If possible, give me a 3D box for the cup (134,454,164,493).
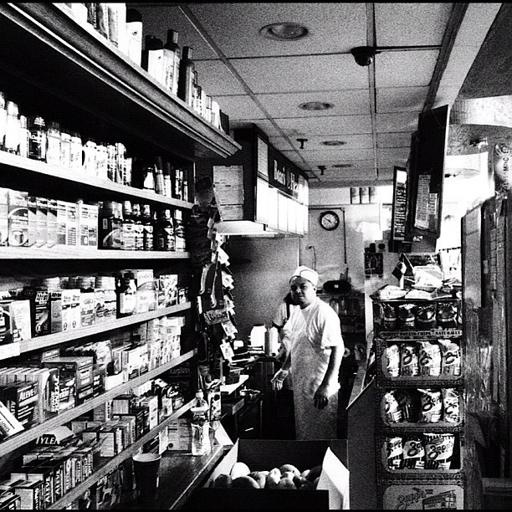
[{"bbox_3d":[-0.482,0.965,2.441,0.142,0.144,0.135,1,6,0],"label":"cup"}]

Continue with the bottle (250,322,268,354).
[{"bbox_3d":[0.030,0.997,6.503,0.255,0.406,0.235,1,-7,0],"label":"bottle"}]

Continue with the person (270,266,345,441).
[{"bbox_3d":[0.542,0.896,4.923,0.300,1.568,0.619,0,0,-34],"label":"person"}]

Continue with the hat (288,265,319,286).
[{"bbox_3d":[0.443,0.179,5.099,0.205,0.188,0.251,2,-3,20],"label":"hat"}]

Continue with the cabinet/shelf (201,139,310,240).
[{"bbox_3d":[0.202,-0.726,6.907,0.560,0.956,4.084,-7,1,13],"label":"cabinet/shelf"}]

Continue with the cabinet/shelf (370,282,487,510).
[{"bbox_3d":[0.964,0.842,3.222,0.532,1.259,0.468,0,0,12],"label":"cabinet/shelf"}]

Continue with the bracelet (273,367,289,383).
[{"bbox_3d":[0.228,1.162,5.222,0.140,0.080,0.182,17,-23,-28],"label":"bracelet"}]
